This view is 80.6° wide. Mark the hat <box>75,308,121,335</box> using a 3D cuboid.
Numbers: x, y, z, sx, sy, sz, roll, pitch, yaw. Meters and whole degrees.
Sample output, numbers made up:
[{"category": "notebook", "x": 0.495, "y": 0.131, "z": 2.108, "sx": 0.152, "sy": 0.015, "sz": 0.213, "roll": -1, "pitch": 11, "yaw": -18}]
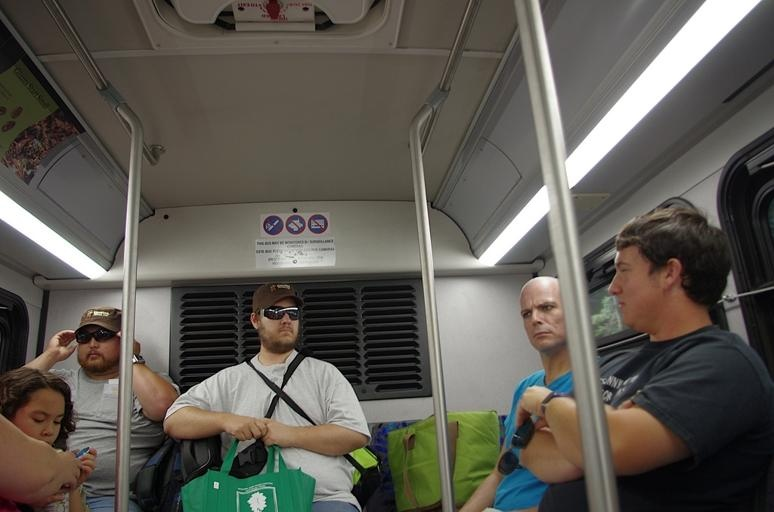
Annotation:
[{"category": "hat", "x": -2.748, "y": 0.632, "z": 4.352, "sx": 0.266, "sy": 0.146, "sz": 0.377, "roll": -2, "pitch": -10, "yaw": -3}]
